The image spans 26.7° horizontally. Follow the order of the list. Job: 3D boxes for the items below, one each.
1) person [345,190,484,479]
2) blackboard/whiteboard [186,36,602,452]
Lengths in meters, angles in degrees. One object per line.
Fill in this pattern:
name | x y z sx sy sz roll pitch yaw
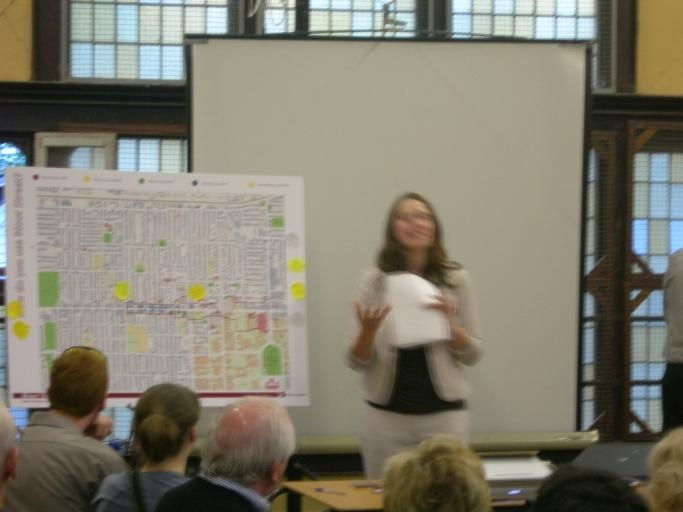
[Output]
person | 0.404 0.443 7.971 0.746 1.592 0.272 0 -3 -2
blackboard/whiteboard | 0.206 -0.014 8.142 2.832 2.389 0.046 -1 1 -2
